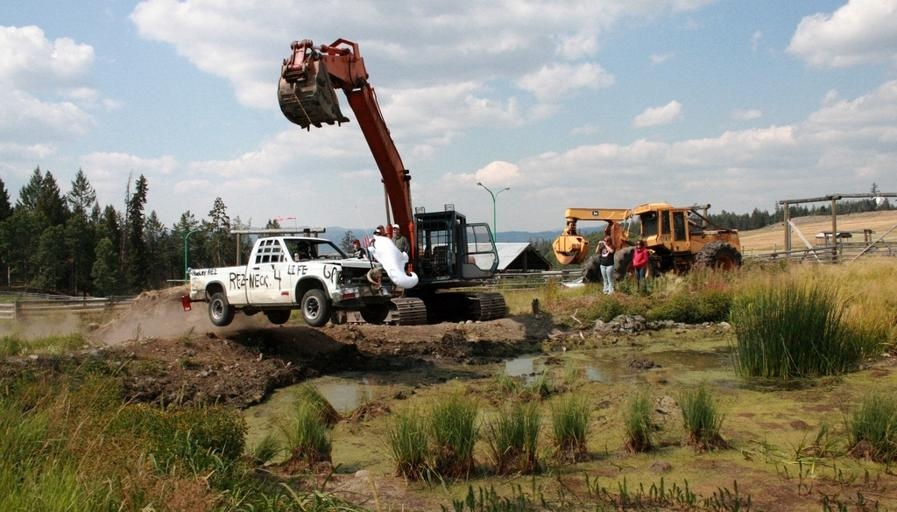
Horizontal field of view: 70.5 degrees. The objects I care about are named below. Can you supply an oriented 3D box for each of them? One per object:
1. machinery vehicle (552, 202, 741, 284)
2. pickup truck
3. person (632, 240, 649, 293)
[{"bbox_3d":[8.824,-0.624,27.072,7.963,3.454,3.448,-2,3,-8],"label":"machinery vehicle"},{"bbox_3d":[-4.432,0.756,17.731,5.251,2.095,2.696,-5,-6,32],"label":"pickup truck"},{"bbox_3d":[7.162,0.299,23.663,0.468,1.856,1.313,-4,-1,15],"label":"person"}]
